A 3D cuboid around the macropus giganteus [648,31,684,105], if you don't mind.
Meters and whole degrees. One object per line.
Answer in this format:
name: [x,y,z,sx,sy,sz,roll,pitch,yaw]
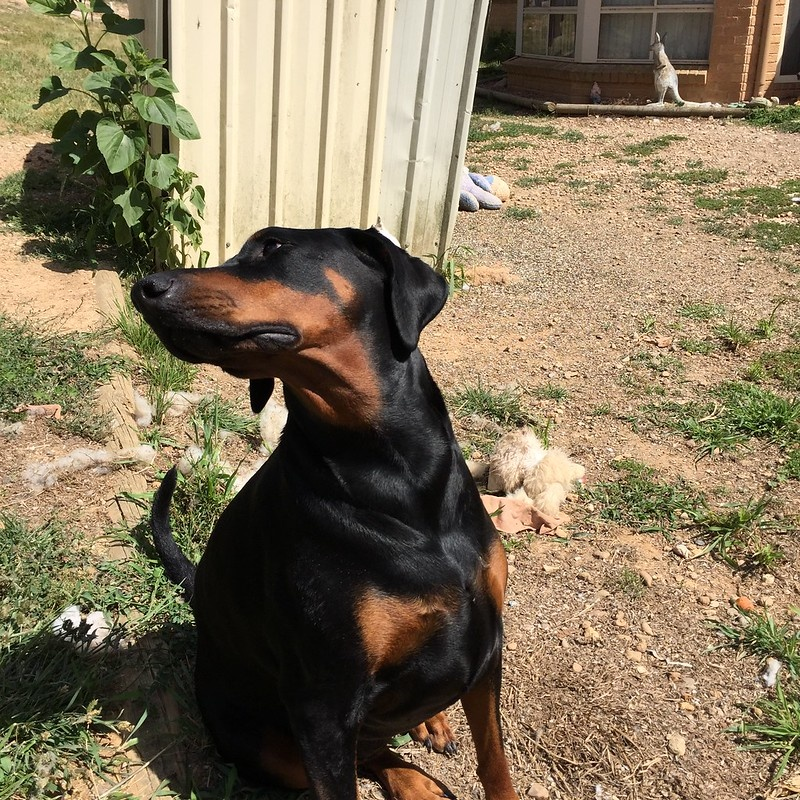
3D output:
macropus giganteus: [4.610,-5.578,12.811,0.650,1.057,0.918,8,20,7]
